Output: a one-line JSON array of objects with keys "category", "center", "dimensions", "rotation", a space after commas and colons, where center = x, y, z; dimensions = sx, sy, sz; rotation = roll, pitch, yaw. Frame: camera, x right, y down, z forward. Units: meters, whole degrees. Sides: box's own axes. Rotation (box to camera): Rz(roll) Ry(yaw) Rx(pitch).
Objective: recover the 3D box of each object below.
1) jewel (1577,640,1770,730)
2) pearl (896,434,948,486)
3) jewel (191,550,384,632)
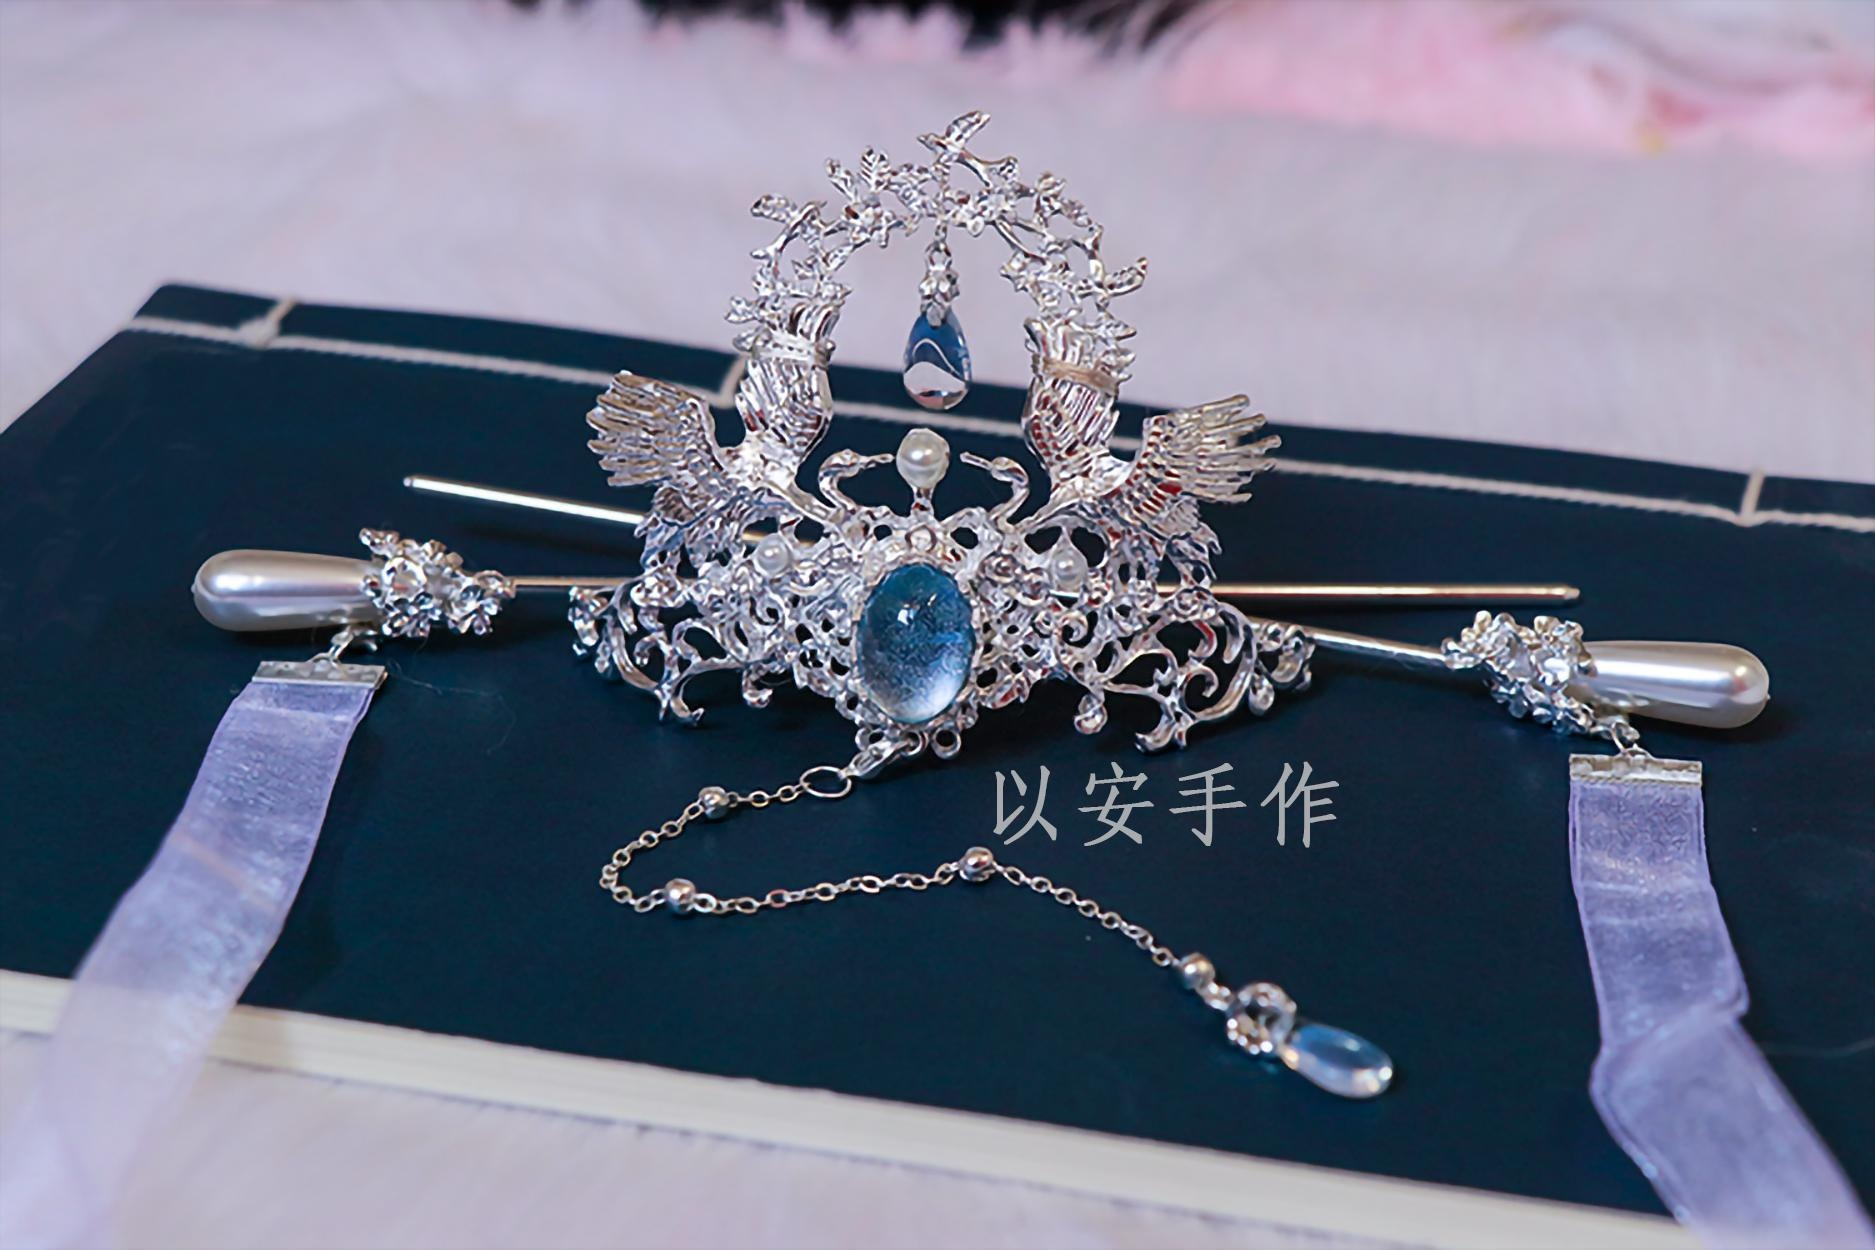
[{"category": "jewel", "center": [0.903, 0.072, 2.463], "dimensions": [0.258, 0.098, 0.098], "rotation": [4, 32, 4]}, {"category": "pearl", "center": [-0.022, -0.183, 2.326], "dimensions": [0.058, 0.046, 0.065], "rotation": [-17, 88, -8]}, {"category": "jewel", "center": [-0.817, -0.043, 2.517], "dimensions": [0.235, 0.096, 0.096], "rotation": [1, 83, -4]}]
